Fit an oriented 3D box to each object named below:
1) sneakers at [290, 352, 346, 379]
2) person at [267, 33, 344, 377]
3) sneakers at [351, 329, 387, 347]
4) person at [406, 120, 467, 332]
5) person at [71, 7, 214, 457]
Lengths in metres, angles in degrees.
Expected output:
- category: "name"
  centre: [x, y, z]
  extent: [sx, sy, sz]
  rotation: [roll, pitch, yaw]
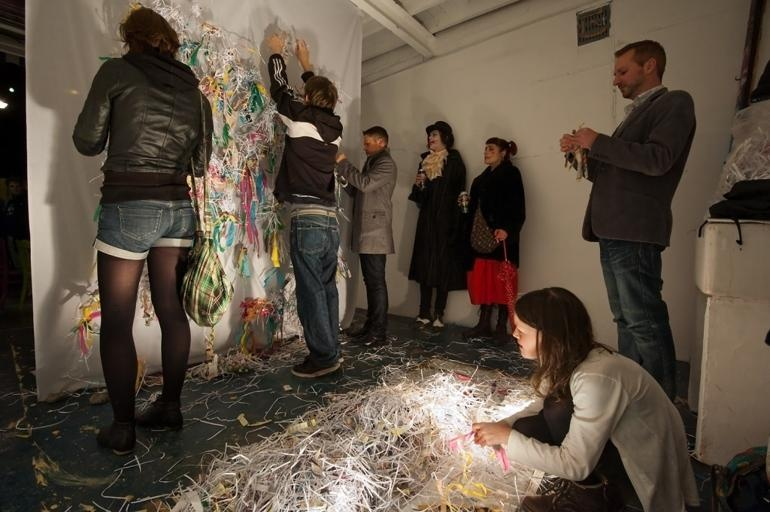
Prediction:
- category: "sneakers"
  centre: [-0.547, 0.878, 3.818]
  extent: [0.377, 0.166, 0.158]
  rotation: [3, 1, -12]
- category: "person"
  centre: [-0.640, -0.429, 3.876]
  extent: [0.684, 2.680, 0.511]
  rotation: [3, 4, 8]
- category: "sneakers"
  centre: [-0.179, 0.742, 4.480]
  extent: [0.400, 0.127, 0.224]
  rotation: [5, 6, 26]
- category: "person"
  centre: [0.592, -0.346, 5.156]
  extent: [0.646, 2.184, 0.437]
  rotation: [3, 4, 10]
- category: "person"
  centre: [-1.511, -0.165, 2.914]
  extent: [0.675, 2.648, 0.276]
  rotation: [0, 5, -27]
